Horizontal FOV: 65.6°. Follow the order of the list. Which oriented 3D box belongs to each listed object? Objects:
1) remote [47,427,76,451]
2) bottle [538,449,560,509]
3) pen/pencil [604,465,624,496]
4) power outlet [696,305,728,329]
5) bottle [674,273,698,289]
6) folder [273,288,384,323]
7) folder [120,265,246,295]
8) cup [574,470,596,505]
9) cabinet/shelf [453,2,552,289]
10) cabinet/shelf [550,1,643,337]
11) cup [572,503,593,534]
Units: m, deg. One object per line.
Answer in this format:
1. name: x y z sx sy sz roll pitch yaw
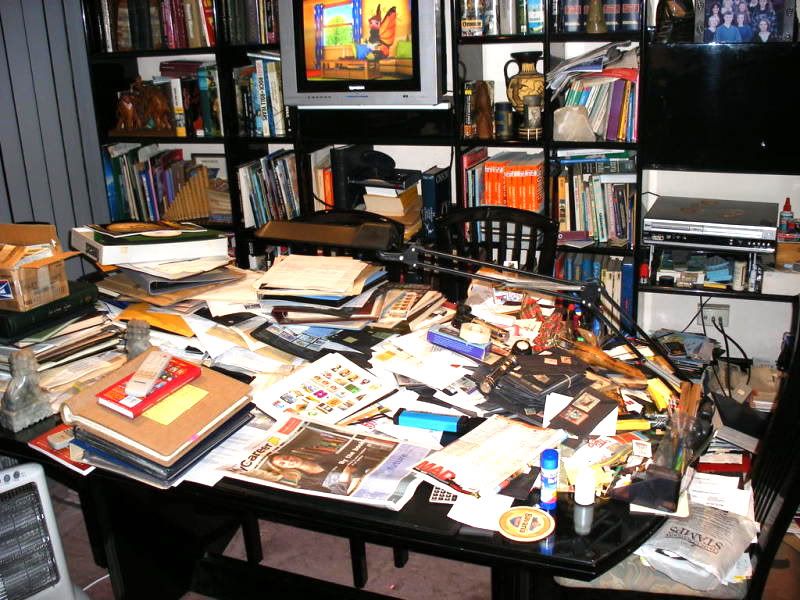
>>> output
1. remote: -0.827 0.335 1.493 0.058 0.014 0.050 2 16 2
2. bottle: 0.315 0.359 1.299 0.039 0.120 0.126 3 21 15
3. pen/pencil: 0.463 0.385 1.336 0.026 0.019 0.089 12 29 25
4. power outlet: 1.593 0.082 3.147 0.134 0.091 0.063 6 18 24
5. bottle: 1.294 -0.089 2.796 0.108 0.083 0.066 8 26 23
6. folder: -0.218 0.034 1.990 0.372 0.058 0.149 -6 19 -10
7. folder: -0.765 -0.076 2.124 0.190 0.037 0.189 13 20 37
8. cup: 0.375 0.379 1.258 0.036 0.068 0.043 1 22 12
9. cabinet/shelf: 0.428 -0.680 2.704 0.450 1.211 1.058 0 21 9
10. cabinet/shelf: 0.887 -0.597 2.770 0.391 1.380 0.375 -6 22 -6
11. cup: 0.365 0.437 1.243 0.055 0.047 0.048 1 1 12
